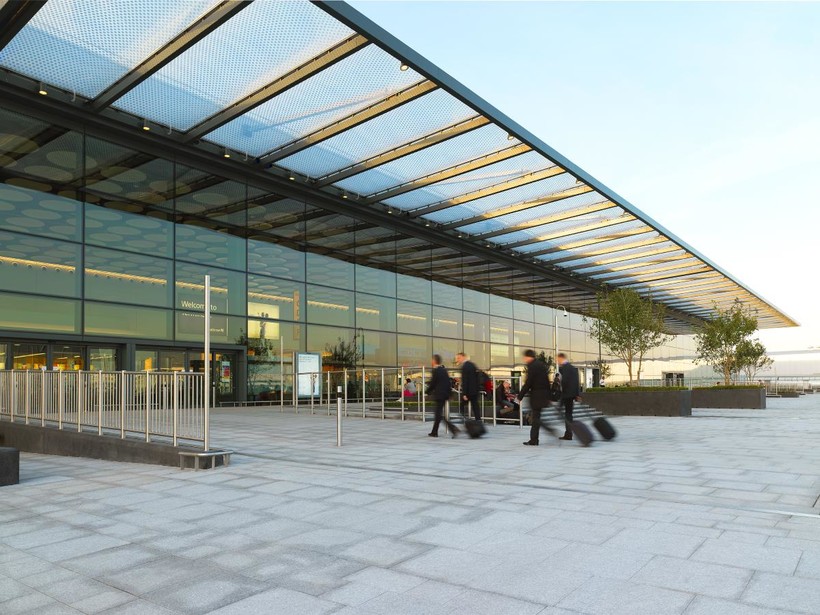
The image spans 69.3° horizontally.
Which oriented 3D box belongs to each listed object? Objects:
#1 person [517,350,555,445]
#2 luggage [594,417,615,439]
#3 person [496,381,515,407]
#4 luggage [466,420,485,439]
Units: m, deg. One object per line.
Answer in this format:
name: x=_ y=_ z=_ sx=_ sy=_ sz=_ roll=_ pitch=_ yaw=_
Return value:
person: x=2.647 y=2.006 z=13.169 sx=1.012 sy=1.917 sz=0.857 roll=-4 pitch=-12 yaw=21
luggage: x=4.549 y=2.812 z=13.832 sx=0.437 sy=0.527 sz=0.495 roll=1 pitch=-6 yaw=-17
person: x=3.049 y=2.671 z=18.881 sx=0.563 sy=0.658 sz=1.142 roll=-2 pitch=-5 yaw=8
luggage: x=1.583 y=2.932 z=14.356 sx=0.459 sy=0.406 sz=0.479 roll=-1 pitch=-5 yaw=3
